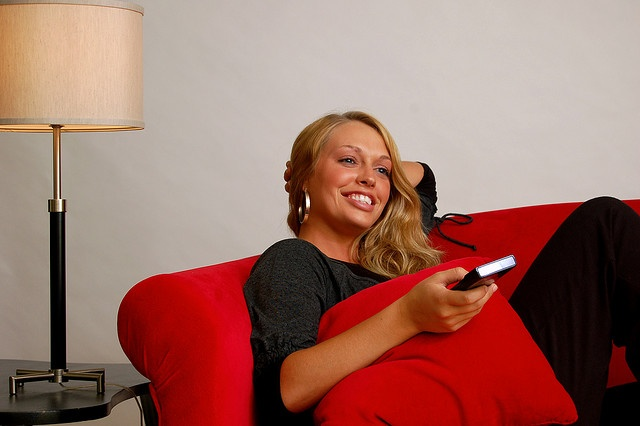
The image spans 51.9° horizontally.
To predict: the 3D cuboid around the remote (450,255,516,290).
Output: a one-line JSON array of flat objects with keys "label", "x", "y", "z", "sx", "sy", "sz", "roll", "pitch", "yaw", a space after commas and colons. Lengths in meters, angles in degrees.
[{"label": "remote", "x": 0.467, "y": 0.176, "z": 1.890, "sx": 0.166, "sy": 0.086, "sz": 0.126, "roll": -2, "pitch": -11, "yaw": 1}]
